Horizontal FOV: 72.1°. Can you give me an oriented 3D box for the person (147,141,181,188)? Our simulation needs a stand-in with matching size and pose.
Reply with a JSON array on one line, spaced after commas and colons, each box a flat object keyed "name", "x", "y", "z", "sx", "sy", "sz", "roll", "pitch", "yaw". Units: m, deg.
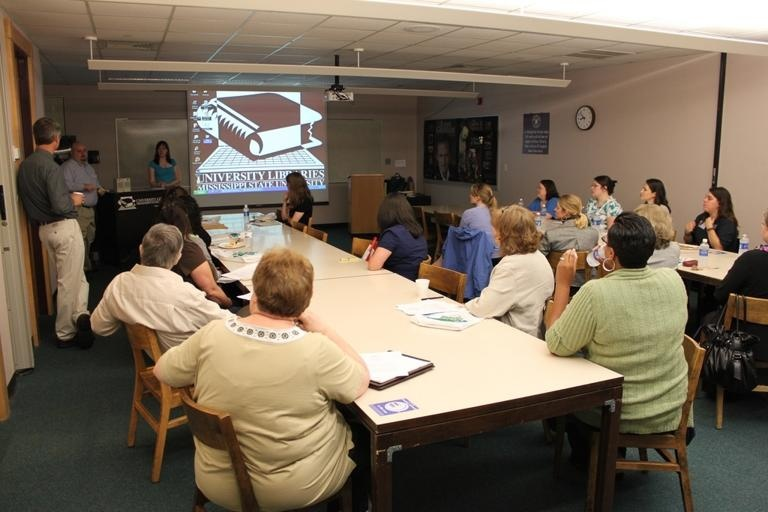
[{"name": "person", "x": -3.864, "y": -1.581, "z": 9.275, "sx": 0.510, "sy": 0.851, "sz": 0.464, "roll": -5, "pitch": 2, "yaw": -36}]

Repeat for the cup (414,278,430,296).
[{"name": "cup", "x": 0.287, "y": 0.231, "z": 3.963, "sx": 0.115, "sy": 0.113, "sz": 0.116, "roll": 0, "pitch": 1, "yaw": 0}]

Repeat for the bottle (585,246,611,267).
[{"name": "bottle", "x": 1.798, "y": 0.009, "z": 4.437, "sx": 0.081, "sy": 0.140, "sz": 0.134, "roll": 34, "pitch": 45, "yaw": 25}]

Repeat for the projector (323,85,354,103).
[{"name": "projector", "x": -0.740, "y": -2.583, "z": 8.522, "sx": 0.445, "sy": 0.289, "sz": 0.424, "roll": -3, "pitch": 8, "yaw": -24}]

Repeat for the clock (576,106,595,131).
[{"name": "clock", "x": 3.468, "y": -2.385, "z": 9.088, "sx": 0.089, "sy": 0.425, "sz": 0.464, "roll": -5, "pitch": 11, "yaw": -16}]

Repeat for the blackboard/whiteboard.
[{"name": "blackboard/whiteboard", "x": -2.265, "y": -2.149, "z": 10.996, "sx": 0.062, "sy": 1.527, "sz": 4.553, "roll": 24, "pitch": 24, "yaw": 34}]

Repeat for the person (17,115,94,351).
[{"name": "person", "x": -3.241, "y": -0.215, "z": 5.233, "sx": 0.536, "sy": 2.277, "sz": 0.462, "roll": -9, "pitch": 12, "yaw": -30}]
